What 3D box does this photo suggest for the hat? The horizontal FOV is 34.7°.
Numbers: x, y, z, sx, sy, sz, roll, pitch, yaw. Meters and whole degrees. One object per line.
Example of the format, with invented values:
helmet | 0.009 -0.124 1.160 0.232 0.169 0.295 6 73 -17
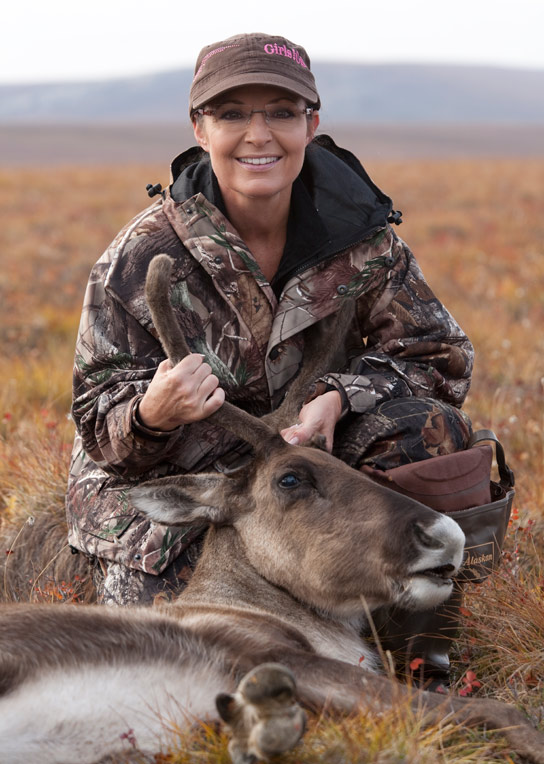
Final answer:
hat | -0.071 -1.451 4.162 0.623 0.349 0.735 -1 5 -4
